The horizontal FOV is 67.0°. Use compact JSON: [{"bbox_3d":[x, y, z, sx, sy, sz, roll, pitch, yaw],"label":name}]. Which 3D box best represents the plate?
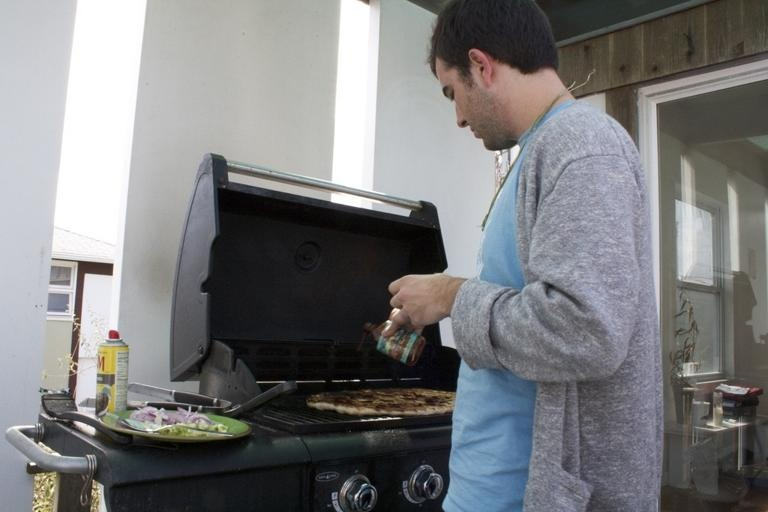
[{"bbox_3d":[-0.656,0.527,1.858,0.364,0.088,0.324,1,0,38],"label":"plate"}]

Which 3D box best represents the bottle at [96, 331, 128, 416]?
[{"bbox_3d":[-0.950,0.420,2.071,0.110,0.313,0.122,6,0,-7],"label":"bottle"}]
